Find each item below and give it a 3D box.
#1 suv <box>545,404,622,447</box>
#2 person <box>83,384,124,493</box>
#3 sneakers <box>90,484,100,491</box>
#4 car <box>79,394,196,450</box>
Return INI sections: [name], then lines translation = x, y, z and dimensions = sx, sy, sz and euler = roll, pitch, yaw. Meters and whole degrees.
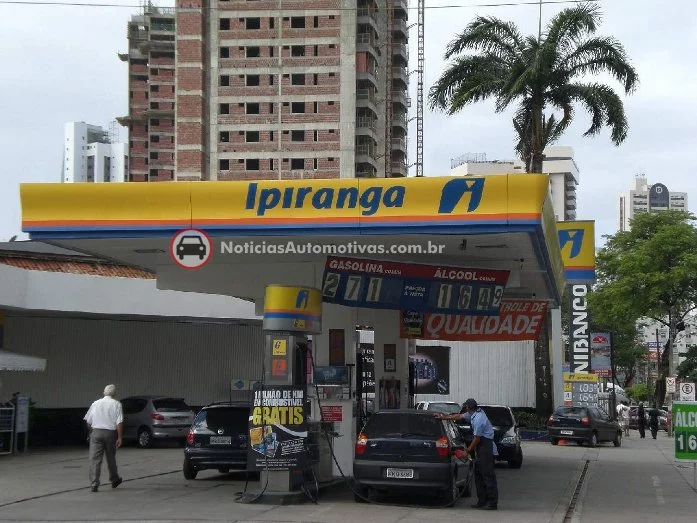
[suv]
translation = 10.539, 7.216, 51.934
dimensions = 1.689, 1.222, 3.178
euler = -3, -6, 32
[person]
translation = -6.884, 5.019, 33.493
dimensions = 1.054, 2.957, 1.279
euler = 2, -6, -12
[sneakers]
translation = -7.026, 6.332, 32.891
dimensions = 0.206, 0.208, 0.358
euler = 2, -7, -13
[car]
translation = -7.700, 6.122, 45.276
dimensions = 3.354, 1.530, 2.023
euler = 1, -2, 28
